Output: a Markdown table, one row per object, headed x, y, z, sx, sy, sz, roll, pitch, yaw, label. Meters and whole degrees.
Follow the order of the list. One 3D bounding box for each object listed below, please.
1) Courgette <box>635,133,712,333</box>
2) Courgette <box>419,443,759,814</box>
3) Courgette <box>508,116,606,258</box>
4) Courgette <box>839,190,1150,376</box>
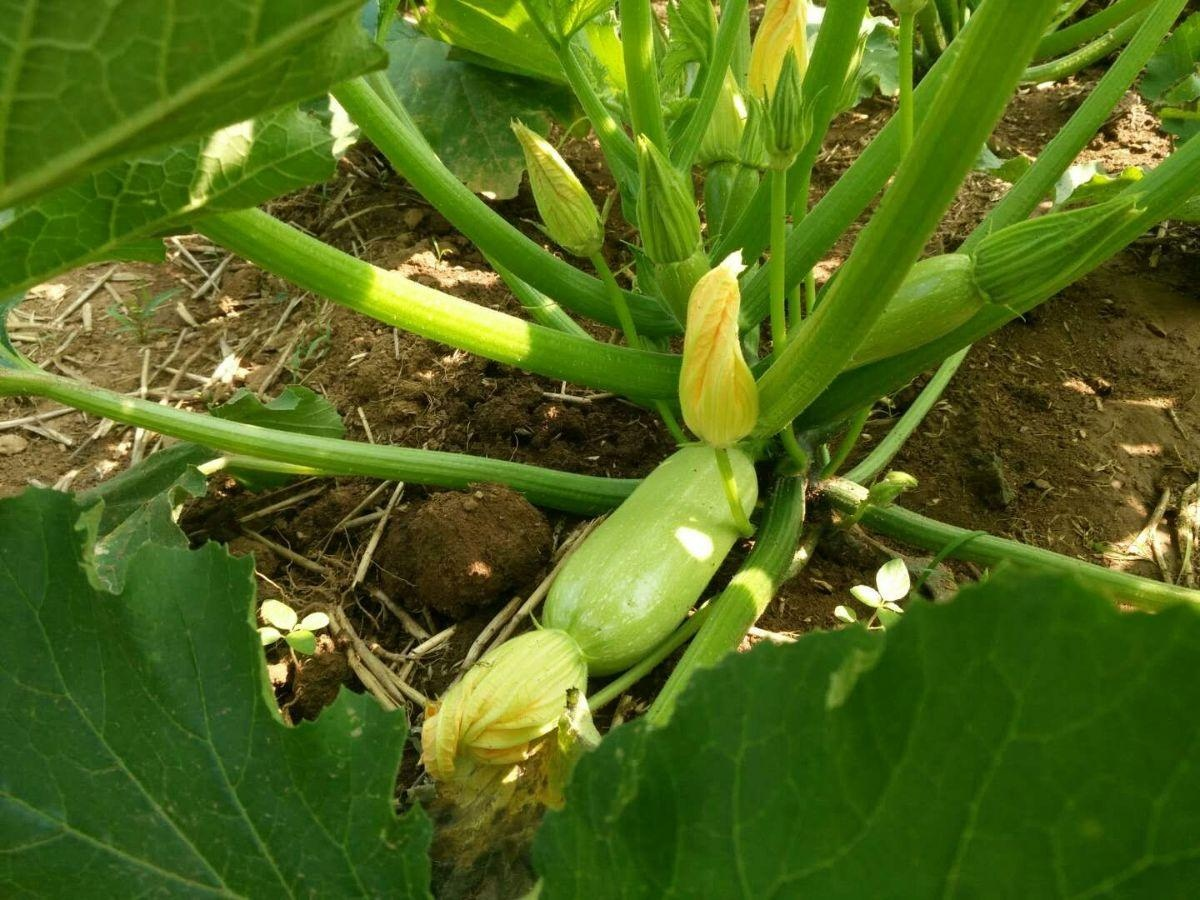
| x | y | z | sx | sy | sz | roll | pitch | yaw | label |
| --- | --- | --- | --- | --- | --- | --- | --- | --- | --- |
| 0.118 | -0.339 | 1.685 | 0.107 | 0.276 | 0.096 | -5 | 23 | 2 | Courgette |
| 0.003 | 0.250 | 1.683 | 0.200 | 0.239 | 0.673 | 33 | 44 | 16 | Courgette |
| -0.076 | -0.449 | 1.803 | 0.136 | 0.235 | 0.109 | -6 | 26 | -9 | Courgette |
| 0.494 | -0.197 | 1.710 | 0.160 | 0.685 | 0.143 | -21 | 90 | -55 | Courgette |
